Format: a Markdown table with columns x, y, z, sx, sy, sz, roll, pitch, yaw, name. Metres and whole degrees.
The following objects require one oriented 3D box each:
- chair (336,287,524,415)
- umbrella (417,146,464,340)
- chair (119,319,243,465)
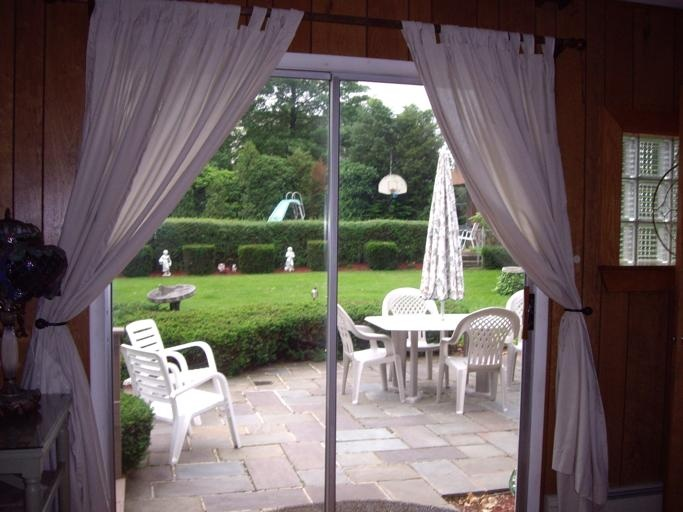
| x | y | z | sx | sy | sz | roll | pitch | yaw | name |
| --- | --- | --- | --- | --- | --- | --- | --- | --- | --- |
| 0.637 | 0.664 | 4.417 | 1.302 | 0.864 | 0.385 | 0 | 1 | 1 | chair |
| 0.700 | -0.212 | 4.229 | 0.309 | 1.039 | 0.483 | 0 | 1 | 9 | umbrella |
| -0.980 | 0.721 | 3.858 | 0.697 | 1.159 | 0.687 | -7 | 12 | -38 | chair |
